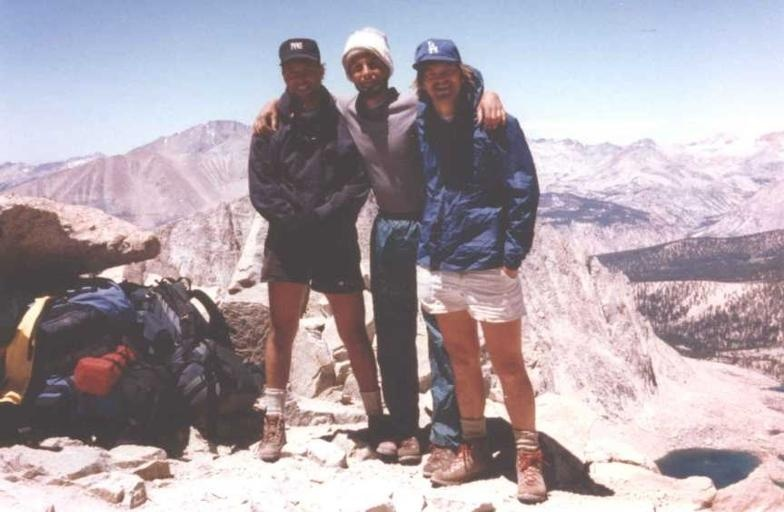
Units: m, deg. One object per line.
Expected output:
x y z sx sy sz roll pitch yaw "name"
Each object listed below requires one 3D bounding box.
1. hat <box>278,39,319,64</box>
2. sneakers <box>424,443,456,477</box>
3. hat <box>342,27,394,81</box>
-0.922 -2.060 6.314 0.391 0.272 0.476 4 14 -11 "hat"
0.486 2.092 6.510 0.457 0.196 0.182 -35 -7 3 "sneakers"
-0.225 -2.003 6.154 0.491 0.508 0.669 5 14 -4 "hat"
